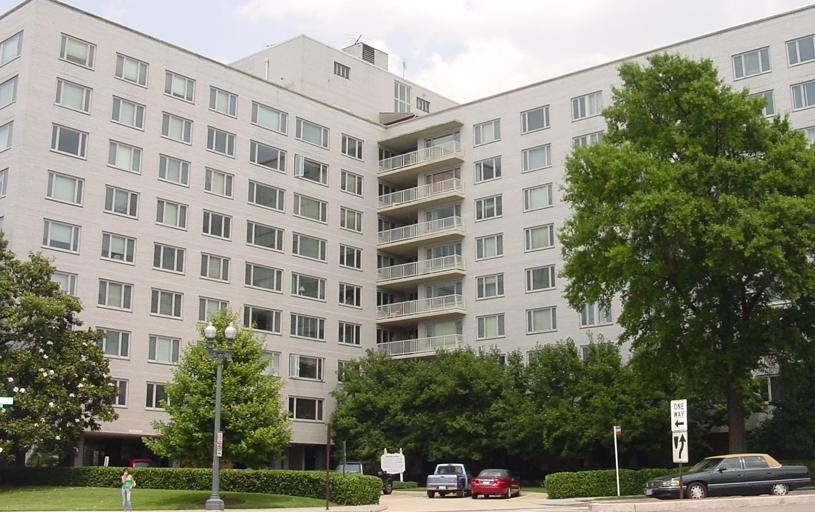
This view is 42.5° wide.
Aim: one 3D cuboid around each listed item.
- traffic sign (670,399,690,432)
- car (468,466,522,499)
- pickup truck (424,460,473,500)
[{"bbox_3d":[14.455,8.508,55.652,0.993,1.634,0.511,-18,-25,39],"label":"traffic sign"},{"bbox_3d":[6.122,15.775,72.555,2.095,1.379,4.467,-4,-24,11],"label":"car"},{"bbox_3d":[2.882,15.575,72.594,2.921,2.483,2.278,-3,-19,4],"label":"pickup truck"}]
